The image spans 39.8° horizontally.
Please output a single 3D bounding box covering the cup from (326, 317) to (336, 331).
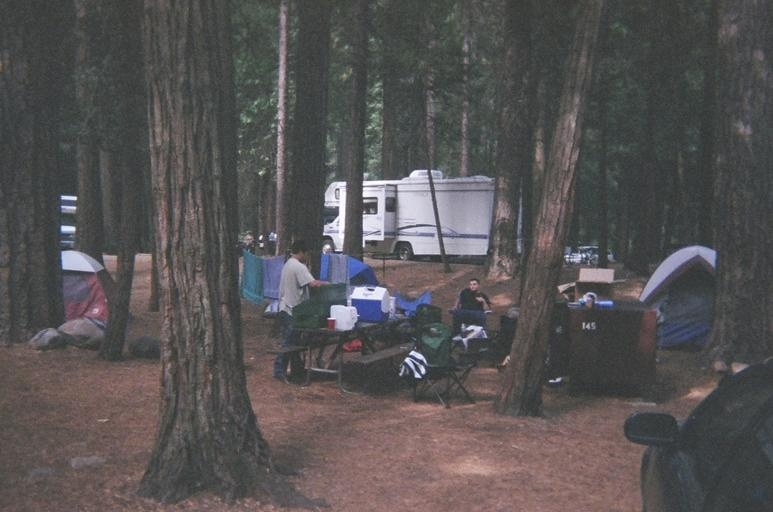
[{"bbox_3d":[-1.073,1.306,20.598,0.189,0.221,0.200,-1,-4,0],"label":"cup"}]

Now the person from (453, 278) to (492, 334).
[{"bbox_3d":[1.890,1.140,23.800,0.675,1.277,0.941,-1,-3,0],"label":"person"}]

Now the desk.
[{"bbox_3d":[-0.927,1.698,21.624,4.009,2.034,2.245,-1,-10,-5],"label":"desk"}]

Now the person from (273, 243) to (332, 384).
[{"bbox_3d":[-1.820,1.115,21.196,0.749,2.796,1.097,1,3,-13],"label":"person"}]

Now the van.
[{"bbox_3d":[1.023,-1.337,36.111,1.986,3.065,7.510,-1,3,-44],"label":"van"}]

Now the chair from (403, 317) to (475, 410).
[{"bbox_3d":[1.062,2.107,20.746,1.501,2.136,1.409,3,6,42],"label":"chair"}]

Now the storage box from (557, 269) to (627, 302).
[{"bbox_3d":[5.027,0.787,25.625,0.858,0.821,1.217,2,-8,19],"label":"storage box"}]

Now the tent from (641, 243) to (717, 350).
[{"bbox_3d":[6.696,0.784,23.915,2.068,2.686,1.519,-10,-10,41],"label":"tent"}]

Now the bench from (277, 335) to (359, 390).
[{"bbox_3d":[-1.504,2.023,21.465,1.702,1.376,1.100,1,-7,-7],"label":"bench"}]

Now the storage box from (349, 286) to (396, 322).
[{"bbox_3d":[-0.319,0.974,21.498,0.693,0.695,0.543,3,5,19],"label":"storage box"}]

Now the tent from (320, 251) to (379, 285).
[{"bbox_3d":[-0.997,0.382,26.913,1.039,0.466,0.841,6,6,8],"label":"tent"}]
